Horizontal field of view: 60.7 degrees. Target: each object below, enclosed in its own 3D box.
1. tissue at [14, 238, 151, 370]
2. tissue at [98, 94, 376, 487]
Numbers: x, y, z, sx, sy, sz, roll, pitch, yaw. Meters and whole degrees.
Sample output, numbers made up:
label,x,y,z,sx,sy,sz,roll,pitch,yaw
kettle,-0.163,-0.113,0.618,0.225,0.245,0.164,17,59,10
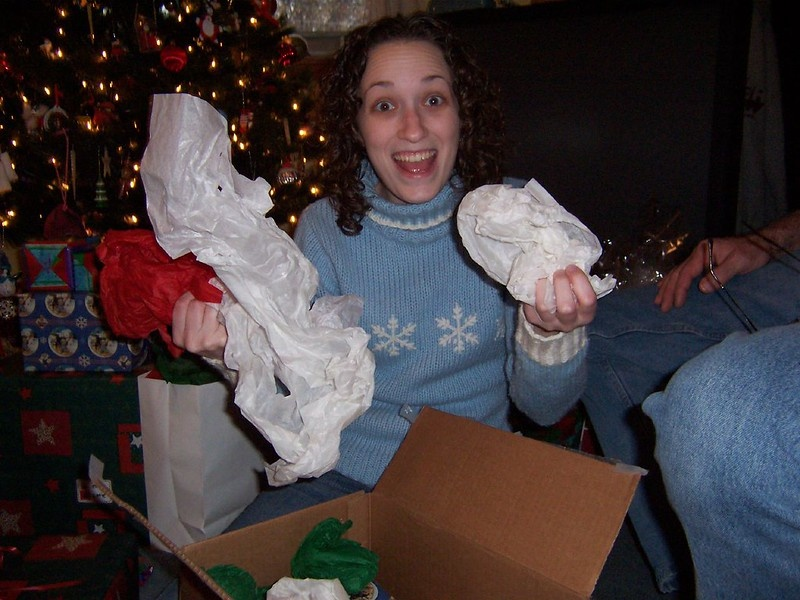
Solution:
label,x,y,z,sx,sy,sz,roll,pitch,yaw
tissue,-0.936,-0.042,2.166,0.406,0.401,0.296,17,39,2
tissue,-0.396,0.032,1.532,0.286,0.743,0.619,-11,37,50
